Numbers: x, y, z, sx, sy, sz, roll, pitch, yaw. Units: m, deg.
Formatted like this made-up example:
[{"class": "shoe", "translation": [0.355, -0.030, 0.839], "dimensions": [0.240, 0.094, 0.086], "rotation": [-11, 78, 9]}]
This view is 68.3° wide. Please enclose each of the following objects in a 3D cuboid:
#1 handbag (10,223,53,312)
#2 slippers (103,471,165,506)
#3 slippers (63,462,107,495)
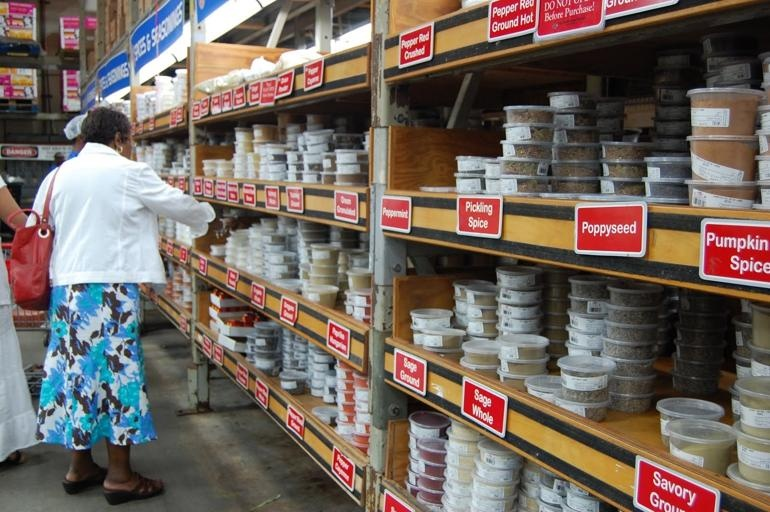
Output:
[{"class": "handbag", "translation": [-2.118, 0.084, 3.398], "dimensions": [0.248, 0.549, 0.179], "rotation": [0, 14, 10]}, {"class": "slippers", "translation": [-1.580, 1.467, 3.641], "dimensions": [0.375, 0.100, 0.167], "rotation": [-2, 5, -27]}, {"class": "slippers", "translation": [-1.933, 1.455, 3.792], "dimensions": [0.140, 0.097, 0.361], "rotation": [7, 12, 44]}]
